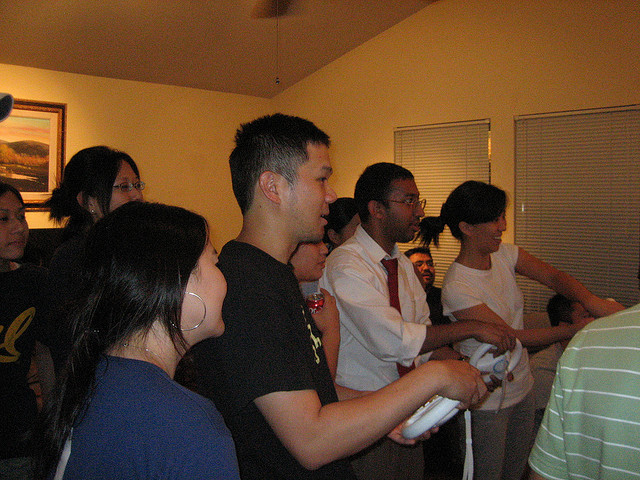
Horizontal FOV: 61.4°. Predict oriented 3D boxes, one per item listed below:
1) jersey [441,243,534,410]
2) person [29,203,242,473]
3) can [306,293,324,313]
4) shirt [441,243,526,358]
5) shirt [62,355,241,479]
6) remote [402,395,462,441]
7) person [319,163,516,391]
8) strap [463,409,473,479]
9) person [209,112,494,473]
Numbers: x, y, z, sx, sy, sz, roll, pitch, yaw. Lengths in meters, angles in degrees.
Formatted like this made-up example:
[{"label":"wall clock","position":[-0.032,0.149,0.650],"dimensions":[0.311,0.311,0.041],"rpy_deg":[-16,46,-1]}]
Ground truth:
[{"label":"jersey","position":[0.971,0.420,2.968],"dimensions":[0.635,0.704,0.308],"rpy_deg":[-20,11,-37]},{"label":"person","position":[-0.560,0.309,1.647],"dimensions":[0.591,0.844,0.411],"rpy_deg":[2,4,-16]},{"label":"can","position":[-0.021,0.282,2.443],"dimensions":[0.071,0.089,0.034],"rpy_deg":[5,-14,0]},{"label":"shirt","position":[0.932,0.305,2.994],"dimensions":[0.566,0.537,0.304],"rpy_deg":[-29,32,-27]},{"label":"shirt","position":[-0.469,0.385,1.588],"dimensions":[0.541,0.411,0.288],"rpy_deg":[1,-5,21]},{"label":"remote","position":[0.372,0.603,1.942],"dimensions":[0.204,0.065,0.200],"rpy_deg":[-25,-15,-48]},{"label":"person","position":[0.452,0.209,2.646],"dimensions":[0.973,1.129,0.854],"rpy_deg":[4,6,7]},{"label":"strap","position":[0.639,0.848,2.310],"dimensions":[0.043,0.298,0.203],"rpy_deg":[4,4,17]},{"label":"person","position":[0.047,0.184,2.448],"dimensions":[1.116,1.524,1.207],"rpy_deg":[-3,1,-13]}]
